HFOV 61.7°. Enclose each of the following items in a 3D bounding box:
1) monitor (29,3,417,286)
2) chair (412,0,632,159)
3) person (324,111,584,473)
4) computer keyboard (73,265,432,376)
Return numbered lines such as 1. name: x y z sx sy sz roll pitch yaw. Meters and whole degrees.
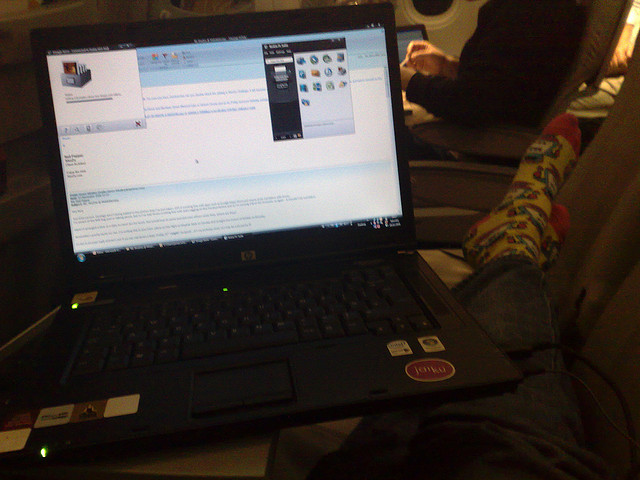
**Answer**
1. monitor: -0.178 -0.157 0.892 0.475 0.303 0.023 -9 5 -4
2. chair: 0.453 -0.421 1.310 0.458 0.385 0.261 5 33 -9
3. person: 0.268 0.013 0.970 0.430 0.260 0.759 -11 31 18
4. computer keyboard: -0.100 0.116 0.831 0.521 0.029 0.143 -6 31 -5
